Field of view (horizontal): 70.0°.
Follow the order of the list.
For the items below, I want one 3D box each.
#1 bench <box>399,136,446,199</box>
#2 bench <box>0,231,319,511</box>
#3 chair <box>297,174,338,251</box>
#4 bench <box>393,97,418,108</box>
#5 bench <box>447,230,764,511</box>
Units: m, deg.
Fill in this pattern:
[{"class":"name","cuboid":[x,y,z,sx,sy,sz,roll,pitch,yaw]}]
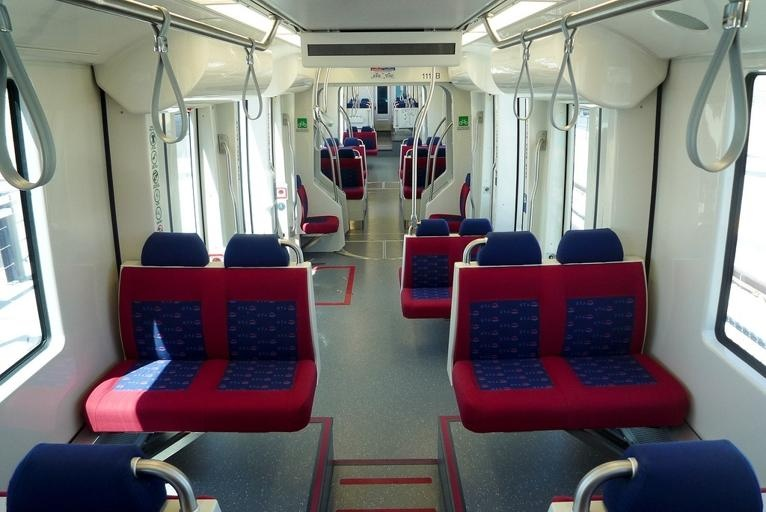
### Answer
[{"class":"bench","cuboid":[0.814,-1.789,11.240,0.935,1.138,1.673,-1,30,2]},{"class":"bench","cuboid":[-1.153,0.675,3.278,1.308,0.953,1.635,2,28,-3]},{"class":"chair","cuboid":[-1.059,-0.679,8.756,0.683,1.223,0.657,1,12,10]},{"class":"bench","cuboid":[0.882,-6.004,21.334,0.761,0.446,1.129,-5,13,-17]},{"class":"bench","cuboid":[1.137,0.629,3.225,1.305,1.018,1.680,0,21,3]}]
